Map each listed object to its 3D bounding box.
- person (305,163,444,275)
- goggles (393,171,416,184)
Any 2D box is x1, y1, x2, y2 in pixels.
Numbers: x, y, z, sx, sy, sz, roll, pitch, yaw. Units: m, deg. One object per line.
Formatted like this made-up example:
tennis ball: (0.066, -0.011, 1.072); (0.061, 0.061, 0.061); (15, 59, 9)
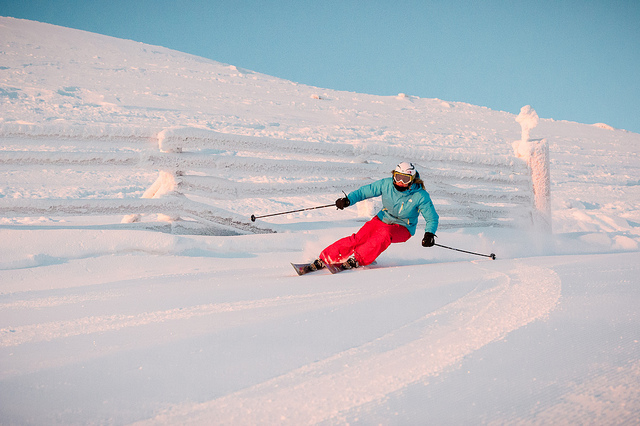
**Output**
person: (0.745, 0.105, 6.291); (1.446, 0.956, 2.041); (25, 42, 30)
goggles: (1.153, -0.470, 6.410); (0.287, 0.166, 0.124); (-1, 3, 8)
